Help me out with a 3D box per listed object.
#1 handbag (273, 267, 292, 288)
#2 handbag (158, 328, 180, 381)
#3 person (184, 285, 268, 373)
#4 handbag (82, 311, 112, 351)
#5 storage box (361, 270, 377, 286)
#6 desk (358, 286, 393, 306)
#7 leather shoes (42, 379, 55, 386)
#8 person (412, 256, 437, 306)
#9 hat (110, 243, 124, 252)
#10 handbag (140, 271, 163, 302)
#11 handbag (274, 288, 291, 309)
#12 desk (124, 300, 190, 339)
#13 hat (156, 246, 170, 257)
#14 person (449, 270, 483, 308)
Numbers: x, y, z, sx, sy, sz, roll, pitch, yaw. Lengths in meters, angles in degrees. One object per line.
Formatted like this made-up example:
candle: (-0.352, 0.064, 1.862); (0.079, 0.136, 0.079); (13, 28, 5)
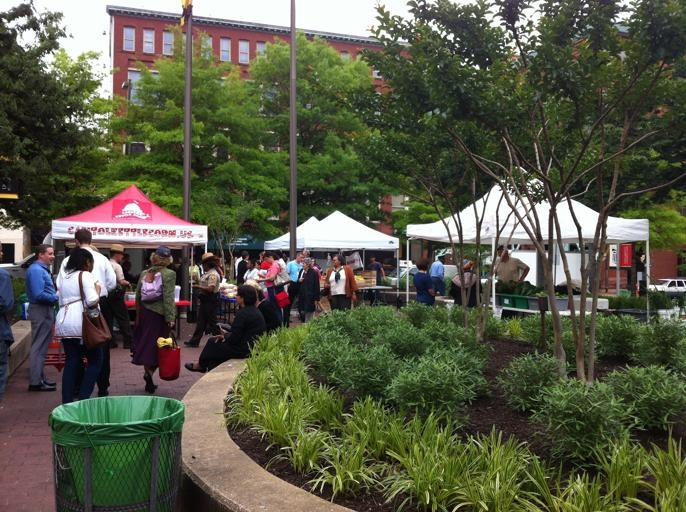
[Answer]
handbag: (-1.452, 0.509, 15.664); (0.308, 0.652, 0.565); (-3, -4, 37)
handbag: (-2.444, 1.380, 8.931); (0.297, 0.575, 0.466); (1, -3, -17)
person: (-1.673, 1.025, 9.552); (1.019, 1.270, 0.562); (0, -3, 1)
handbag: (-2.977, 0.828, 7.705); (0.201, 0.449, 0.284); (-5, 7, 41)
storage box: (0.796, 0.691, 20.718); (0.469, 0.520, 1.286); (0, -4, 2)
desk: (0.983, 1.248, 21.800); (1.069, 0.615, 5.920); (0, -4, 4)
leather shoes: (-4.396, 1.822, 9.584); (0.180, 0.080, 0.065); (8, 2, 2)
person: (1.628, 0.463, 12.935); (0.394, 0.970, 1.736); (0, -4, 7)
hat: (-4.182, -0.158, 11.765); (0.229, 0.097, 0.258); (1, 3, -40)
handbag: (-2.781, 0.428, 9.309); (0.335, 0.471, 0.242); (-1, -12, 4)
handbag: (-1.420, 0.991, 14.889); (0.287, 0.524, 0.473); (-15, 42, -18)
desk: (-3.196, 1.032, 10.832); (0.842, 0.705, 0.883); (4, -10, -22)
hat: (-2.671, -0.107, 9.447); (0.136, 0.108, 0.192); (21, -3, -38)
person: (2.647, 0.683, 14.227); (0.622, 0.844, 0.438); (3, 35, 2)
